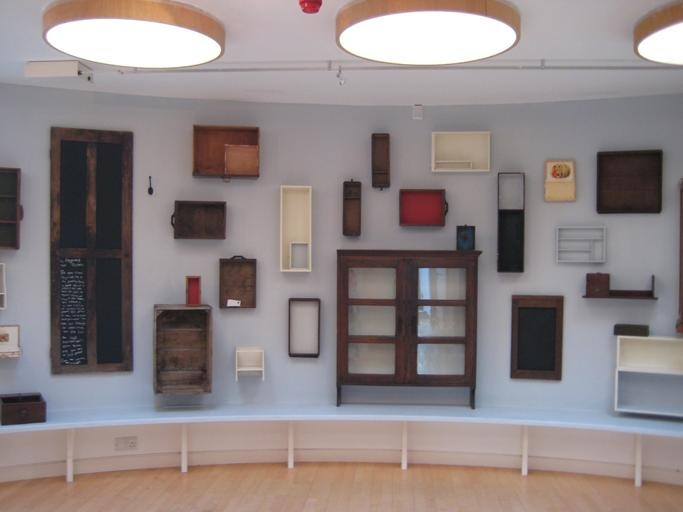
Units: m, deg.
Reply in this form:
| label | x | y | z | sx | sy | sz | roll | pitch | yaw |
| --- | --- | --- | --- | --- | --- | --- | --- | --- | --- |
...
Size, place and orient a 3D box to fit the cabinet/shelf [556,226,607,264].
| label | x | y | z | sx | sy | sz | roll | pitch | yaw |
| --- | --- | --- | --- | --- | --- | --- | --- | --- | --- |
| cabinet/shelf | 2.817 | -0.134 | 7.540 | 0.402 | 0.360 | 0.137 | 0 | -2 | 6 |
